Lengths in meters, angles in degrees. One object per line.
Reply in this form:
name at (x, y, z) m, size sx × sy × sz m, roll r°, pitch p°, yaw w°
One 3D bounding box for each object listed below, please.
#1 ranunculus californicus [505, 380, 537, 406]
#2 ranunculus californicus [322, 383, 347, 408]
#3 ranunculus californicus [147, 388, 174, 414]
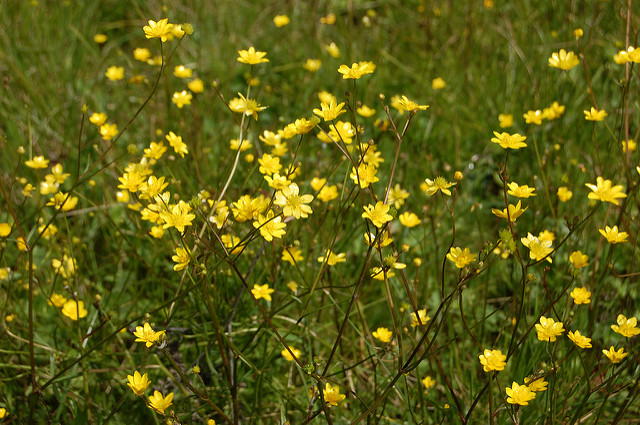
ranunculus californicus at (0.985, 0.930, 3.022) m, size 0.129 × 0.074 × 0.148 m, roll 16°, pitch 56°, yaw 26°
ranunculus californicus at (0.087, 0.932, 3.102) m, size 0.112 × 0.053 × 0.127 m, roll 17°, pitch 39°, yaw -34°
ranunculus californicus at (-0.788, 0.958, 3.076) m, size 0.133 × 0.080 × 0.161 m, roll 0°, pitch 44°, yaw -3°
